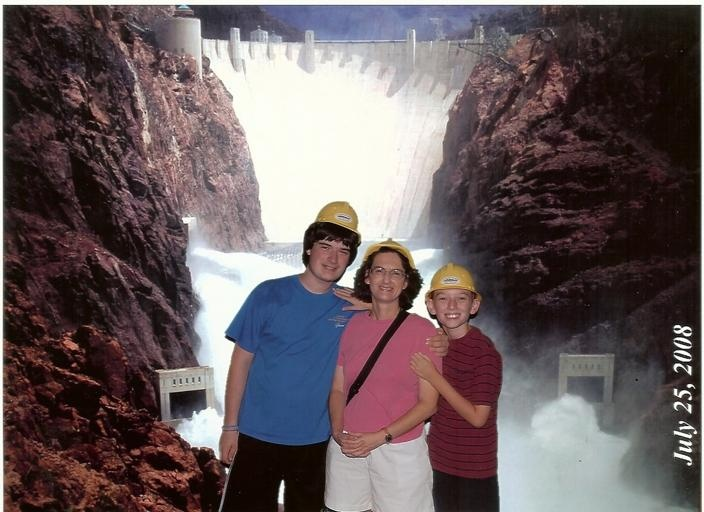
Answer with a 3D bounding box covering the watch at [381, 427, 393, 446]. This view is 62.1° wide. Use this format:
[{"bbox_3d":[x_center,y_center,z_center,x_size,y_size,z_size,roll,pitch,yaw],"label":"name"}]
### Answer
[{"bbox_3d":[0.263,1.331,4.325,0.067,0.106,0.101,-18,28,5],"label":"watch"}]
